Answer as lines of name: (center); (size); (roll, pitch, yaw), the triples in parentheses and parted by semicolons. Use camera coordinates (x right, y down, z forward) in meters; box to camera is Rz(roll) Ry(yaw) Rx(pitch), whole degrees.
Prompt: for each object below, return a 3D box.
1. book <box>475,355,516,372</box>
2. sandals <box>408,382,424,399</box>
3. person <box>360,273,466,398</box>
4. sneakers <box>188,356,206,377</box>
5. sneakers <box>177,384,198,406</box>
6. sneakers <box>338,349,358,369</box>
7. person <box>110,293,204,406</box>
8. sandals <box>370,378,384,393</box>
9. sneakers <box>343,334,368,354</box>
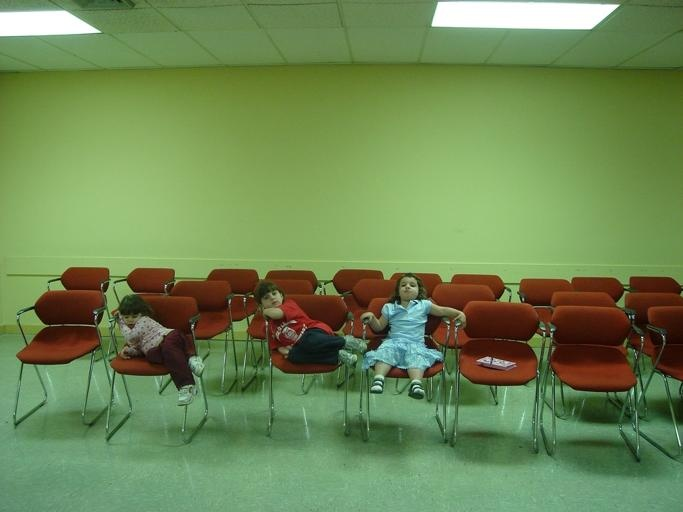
book: (1.327, 0.930, 4.895); (0.328, 0.064, 0.194); (2, 0, 12)
sandals: (0.616, 1.114, 4.692); (0.113, 0.160, 0.205); (2, 1, 4)
person: (0.565, 0.724, 5.058); (0.993, 0.933, 1.009); (-1, -3, 13)
sneakers: (-1.280, 0.969, 5.043); (0.094, 0.118, 0.267); (-13, 5, -28)
sneakers: (-1.313, 1.182, 4.839); (0.106, 0.112, 0.257); (-1, -4, 1)
sneakers: (0.072, 0.890, 4.888); (0.153, 0.142, 0.126); (2, 1, 38)
person: (-1.601, 0.790, 5.069); (0.898, 0.976, 1.069); (1, -11, -39)
sandals: (0.297, 1.066, 4.702); (0.083, 0.099, 0.140); (2, 1, 15)
sneakers: (0.126, 0.781, 5.006); (0.239, 0.145, 0.103); (1, 1, -26)
